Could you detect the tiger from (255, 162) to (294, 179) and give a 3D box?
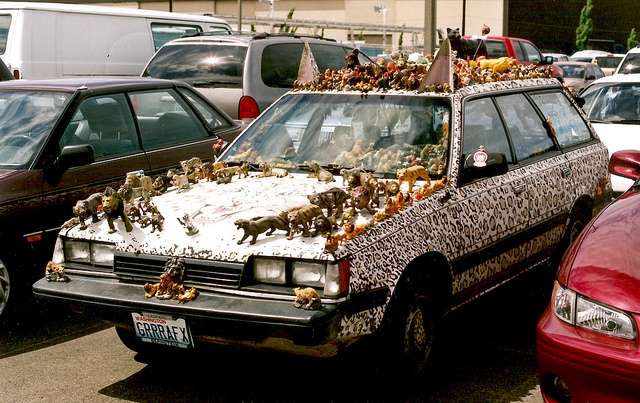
[{"bbox_3d":[-0.391,-0.274,4.538,0.325,0.160,0.137,4,5,-1],"label":"tiger"}]

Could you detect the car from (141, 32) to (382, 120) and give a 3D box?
[{"bbox_3d":[-0.842,-2.666,10.038,2.129,1.591,3.706,12,21,42],"label":"car"}]

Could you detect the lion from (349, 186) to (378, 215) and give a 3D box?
[{"bbox_3d":[0.316,-0.016,3.810,0.221,0.187,0.281,3,21,27],"label":"lion"}]

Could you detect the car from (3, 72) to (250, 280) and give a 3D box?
[{"bbox_3d":[-2.362,-0.577,6.416,1.779,1.484,3.266,5,12,39],"label":"car"}]

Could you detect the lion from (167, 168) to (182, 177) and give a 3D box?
[{"bbox_3d":[-1.267,-0.249,4.482,0.092,0.040,0.093,17,34,36],"label":"lion"}]

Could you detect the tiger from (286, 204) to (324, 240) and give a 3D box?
[{"bbox_3d":[-0.047,0.108,3.633,0.121,0.222,0.404,2,7,40],"label":"tiger"}]

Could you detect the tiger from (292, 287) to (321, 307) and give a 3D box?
[{"bbox_3d":[-0.060,0.592,3.236,0.219,0.109,0.072,-8,3,28],"label":"tiger"}]

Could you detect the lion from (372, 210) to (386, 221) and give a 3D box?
[{"bbox_3d":[0.429,0.099,3.709,0.102,0.060,0.045,-14,19,-42],"label":"lion"}]

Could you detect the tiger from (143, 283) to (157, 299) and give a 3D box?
[{"bbox_3d":[-1.180,0.613,3.586,0.117,0.079,0.081,0,14,5],"label":"tiger"}]

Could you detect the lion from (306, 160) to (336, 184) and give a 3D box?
[{"bbox_3d":[0.014,-0.233,4.360,0.115,0.161,0.288,-23,39,-38],"label":"lion"}]

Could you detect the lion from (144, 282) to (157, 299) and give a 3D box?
[{"bbox_3d":[-1.182,0.613,3.575,0.068,0.090,0.036,5,-4,17],"label":"lion"}]

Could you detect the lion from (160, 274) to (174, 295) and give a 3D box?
[{"bbox_3d":[-1.054,0.562,3.544,0.087,0.121,0.047,4,-7,14],"label":"lion"}]

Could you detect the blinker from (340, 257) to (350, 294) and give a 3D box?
[{"bbox_3d":[0.164,0.477,3.358,0.060,0.194,0.108,0,14,4],"label":"blinker"}]

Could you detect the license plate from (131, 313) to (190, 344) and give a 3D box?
[{"bbox_3d":[-1.106,0.872,3.578,0.466,0.231,0.018,1,17,22],"label":"license plate"}]

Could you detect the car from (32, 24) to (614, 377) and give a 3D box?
[{"bbox_3d":[0.793,-0.281,5.788,2.983,2.536,6.255,5,12,39],"label":"car"}]

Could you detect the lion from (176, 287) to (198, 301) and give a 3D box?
[{"bbox_3d":[-0.902,0.625,3.494,0.139,0.065,0.066,-5,15,-13],"label":"lion"}]

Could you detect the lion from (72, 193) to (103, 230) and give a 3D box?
[{"bbox_3d":[-1.809,0.052,4.095,0.114,0.193,0.400,-9,18,10],"label":"lion"}]

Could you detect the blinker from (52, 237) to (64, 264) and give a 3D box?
[{"bbox_3d":[-2.075,0.376,4.062,0.089,0.181,0.162,-10,17,-31],"label":"blinker"}]

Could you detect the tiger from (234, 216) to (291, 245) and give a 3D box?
[{"bbox_3d":[-0.384,0.180,3.554,0.406,0.173,0.107,-9,19,-17],"label":"tiger"}]

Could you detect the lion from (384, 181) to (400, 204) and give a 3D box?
[{"bbox_3d":[0.547,-0.093,3.884,0.094,0.096,0.164,2,6,4],"label":"lion"}]

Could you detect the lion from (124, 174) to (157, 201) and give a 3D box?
[{"bbox_3d":[-1.475,-0.134,4.247,0.083,0.163,0.313,0,8,24],"label":"lion"}]

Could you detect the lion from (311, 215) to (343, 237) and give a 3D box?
[{"bbox_3d":[0.038,0.161,3.509,0.090,0.092,0.211,1,9,32],"label":"lion"}]

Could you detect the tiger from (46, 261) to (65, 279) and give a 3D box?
[{"bbox_3d":[-2.037,0.518,3.963,0.212,0.093,0.083,8,17,32],"label":"tiger"}]

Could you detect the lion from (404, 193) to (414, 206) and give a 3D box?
[{"bbox_3d":[0.686,-0.017,3.919,0.065,0.082,0.030,3,-24,0],"label":"lion"}]

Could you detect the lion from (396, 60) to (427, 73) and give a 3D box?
[{"bbox_3d":[0.839,-1.244,4.764,0.172,0.069,0.175,1,7,1],"label":"lion"}]

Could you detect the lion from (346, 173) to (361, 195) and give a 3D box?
[{"bbox_3d":[0.268,-0.144,3.957,0.060,0.095,0.190,1,27,21],"label":"lion"}]

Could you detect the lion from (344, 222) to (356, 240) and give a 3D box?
[{"bbox_3d":[0.207,0.197,3.483,0.086,0.105,0.046,-4,15,-12],"label":"lion"}]

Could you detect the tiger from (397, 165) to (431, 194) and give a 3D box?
[{"bbox_3d":[0.758,-0.194,4.179,0.377,0.208,0.124,-14,17,-42],"label":"tiger"}]
